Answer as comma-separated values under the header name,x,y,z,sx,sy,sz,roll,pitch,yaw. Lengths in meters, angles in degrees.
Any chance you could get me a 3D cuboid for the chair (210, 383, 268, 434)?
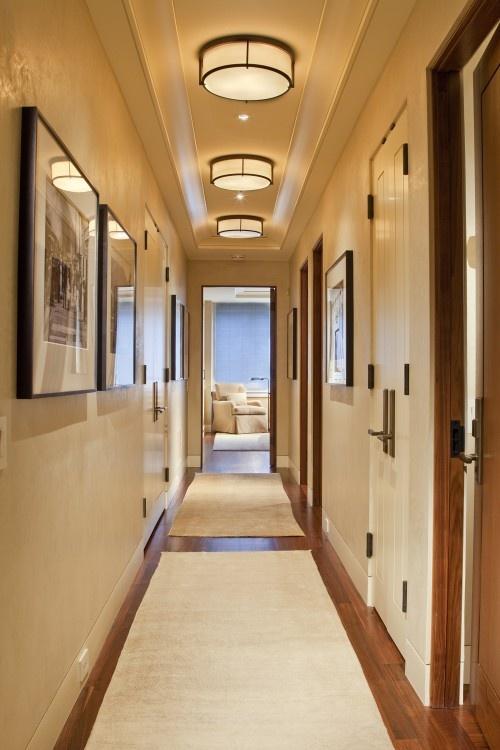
name,x,y,z,sx,sy,sz,roll,pitch,yaw
chair,-0.269,0.791,11.200,0.695,1.478,1.167,1,-6,-12
